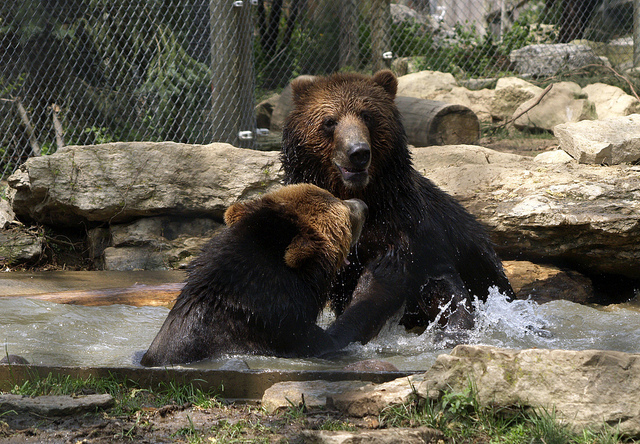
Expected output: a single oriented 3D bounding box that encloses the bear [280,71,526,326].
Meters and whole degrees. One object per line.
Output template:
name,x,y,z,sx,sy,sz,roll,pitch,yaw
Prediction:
bear,0.819,-0.416,12.197,2.370,3.283,3.079,1,13,3
